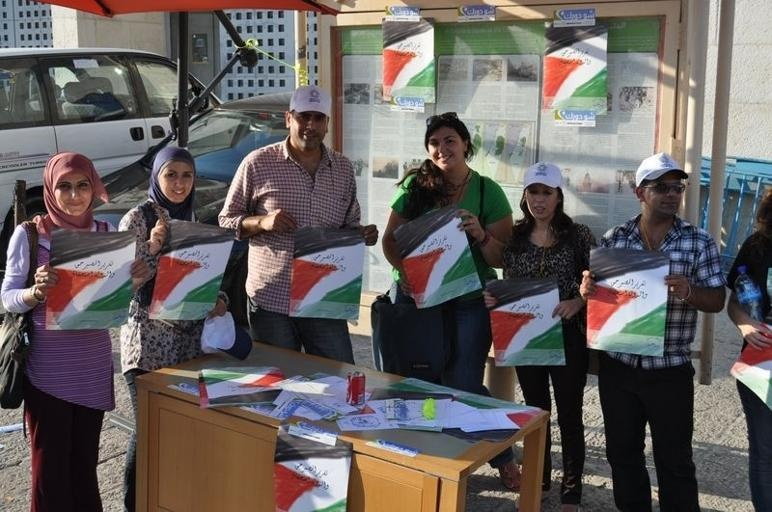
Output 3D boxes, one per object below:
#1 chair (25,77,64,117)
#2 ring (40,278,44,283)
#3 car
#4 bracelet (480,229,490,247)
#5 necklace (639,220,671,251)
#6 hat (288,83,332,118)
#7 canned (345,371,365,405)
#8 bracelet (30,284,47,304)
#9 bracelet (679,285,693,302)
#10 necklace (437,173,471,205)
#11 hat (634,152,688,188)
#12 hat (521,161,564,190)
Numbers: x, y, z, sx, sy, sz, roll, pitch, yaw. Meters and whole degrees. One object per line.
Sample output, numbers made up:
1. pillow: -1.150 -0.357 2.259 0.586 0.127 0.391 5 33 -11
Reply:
1. chair: -4.288 -2.023 8.000 0.406 0.379 0.175 -8 18 -29
2. ring: -1.942 0.137 3.589 0.015 0.017 0.010 2 4 -1
3. car: -1.956 -1.212 7.199 1.194 1.077 2.011 12 15 43
4. bracelet: 0.683 -0.129 4.402 0.082 0.101 0.047 0 -8 17
5. necklace: 1.656 -0.135 3.947 0.119 0.172 0.061 8 16 21
6. hat: -0.510 -1.042 4.254 0.266 0.189 0.190 -2 16 -10
7. canned: -0.171 0.736 3.615 0.111 0.177 0.174 1 16 -1
8. bracelet: -1.974 0.215 3.601 0.058 0.081 0.098 -40 48 -6
9. bracelet: 1.785 0.219 3.801 0.072 0.103 0.077 3 20 9
10. necklace: 0.494 -0.484 4.514 0.214 0.232 0.108 1 16 0
11. hat: 1.649 -0.523 3.880 0.212 0.146 0.278 -9 -14 -14
12. hat: 1.068 -0.545 4.319 0.241 0.166 0.211 5 17 13
